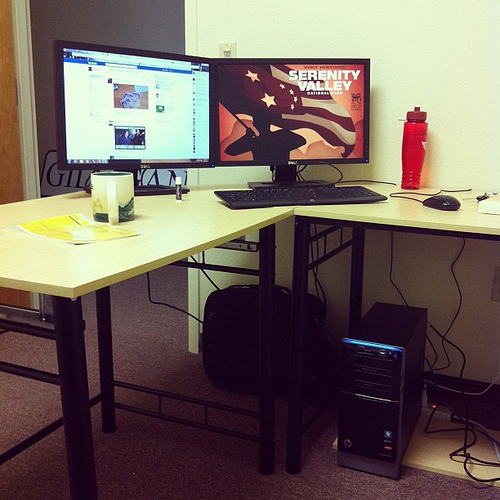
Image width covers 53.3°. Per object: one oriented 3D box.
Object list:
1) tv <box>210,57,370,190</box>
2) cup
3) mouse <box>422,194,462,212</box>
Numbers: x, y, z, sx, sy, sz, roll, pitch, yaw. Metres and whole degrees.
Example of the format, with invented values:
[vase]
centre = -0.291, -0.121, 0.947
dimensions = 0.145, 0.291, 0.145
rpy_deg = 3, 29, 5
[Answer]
[tv]
centre = 0.156, -0.491, 1.873
dimensions = 0.479, 0.419, 0.155
rpy_deg = -1, 9, -3
[cup]
centre = -0.323, -0.119, 1.219
dimensions = 0.080, 0.110, 0.138
rpy_deg = 0, 15, -6
[mouse]
centre = 0.590, -0.154, 1.514
dimensions = 0.052, 0.033, 0.093
rpy_deg = -10, 19, -26
